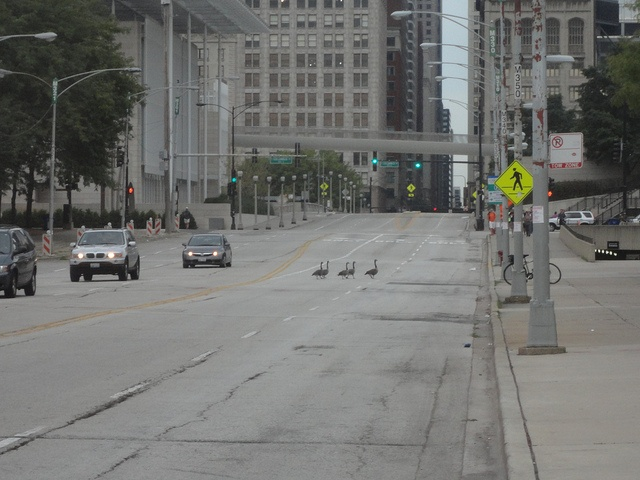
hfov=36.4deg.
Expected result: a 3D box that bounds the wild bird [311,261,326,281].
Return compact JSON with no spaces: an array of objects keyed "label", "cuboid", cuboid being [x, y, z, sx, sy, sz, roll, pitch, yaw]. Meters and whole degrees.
[{"label":"wild bird","cuboid":[0.127,1.351,40.233,0.754,0.937,0.394,-3,4,-16]}]

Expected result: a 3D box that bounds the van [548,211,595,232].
[{"label":"van","cuboid":[18.547,-1.397,71.165,3.581,1.658,1.945,3,3,10]}]
